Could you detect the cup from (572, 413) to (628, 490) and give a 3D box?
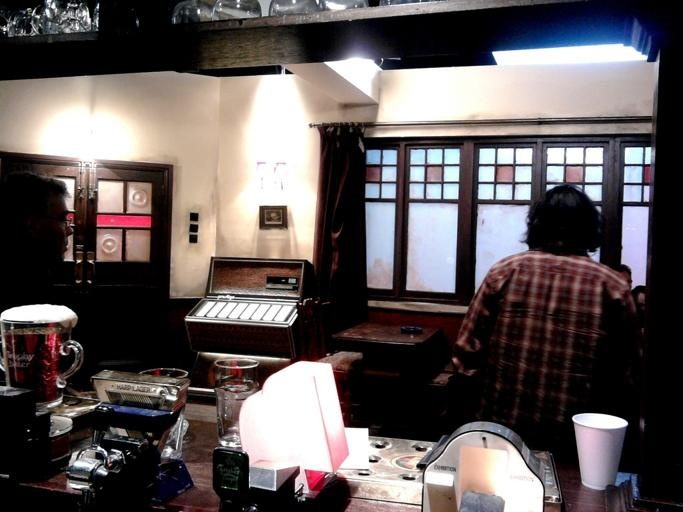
[{"bbox_3d":[0.818,0.653,1.943,0.230,0.231,0.217,1,-2,0],"label":"cup"}]

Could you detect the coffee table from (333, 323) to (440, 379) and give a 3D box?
[{"bbox_3d":[0.379,0.720,4.525,0.667,0.299,0.805,3,3,21],"label":"coffee table"}]

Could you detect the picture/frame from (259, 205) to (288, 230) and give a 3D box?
[{"bbox_3d":[-0.697,-0.405,5.841,0.266,0.210,0.053,1,1,12],"label":"picture/frame"}]
